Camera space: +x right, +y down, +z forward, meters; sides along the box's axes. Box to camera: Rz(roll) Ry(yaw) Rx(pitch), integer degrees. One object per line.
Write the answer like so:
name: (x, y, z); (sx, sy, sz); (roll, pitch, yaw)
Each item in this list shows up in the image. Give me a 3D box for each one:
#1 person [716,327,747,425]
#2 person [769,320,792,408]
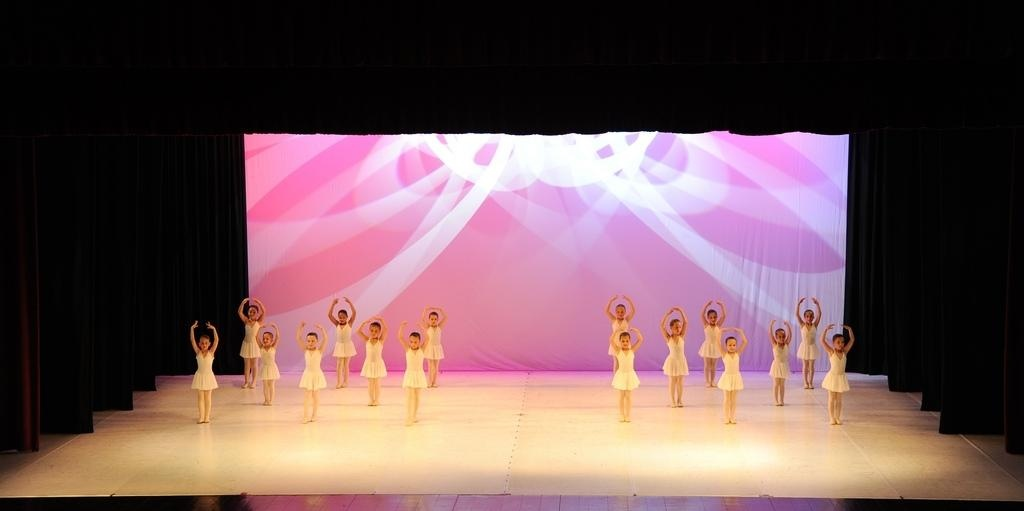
person: (3.547, 1.861, 11.407); (0.344, 1.449, 1.208); (4, 14, 17)
person: (4.549, 1.792, 11.999); (0.293, 1.410, 0.918); (4, 15, 20)
